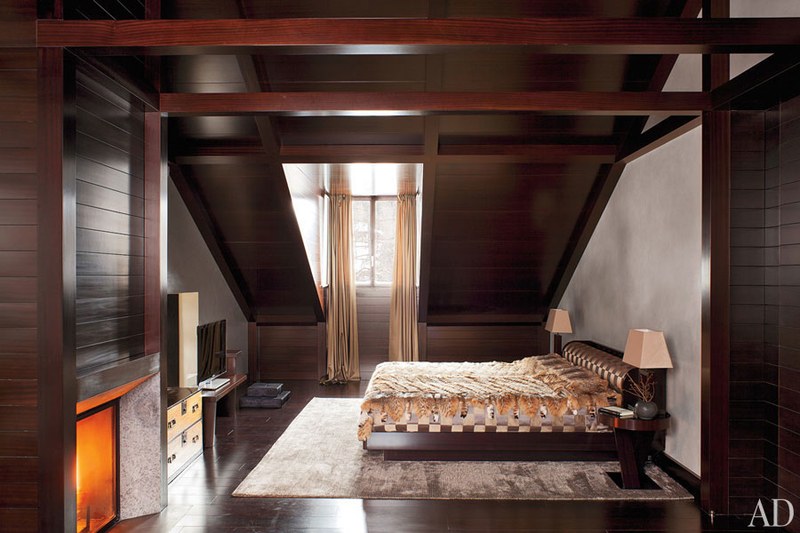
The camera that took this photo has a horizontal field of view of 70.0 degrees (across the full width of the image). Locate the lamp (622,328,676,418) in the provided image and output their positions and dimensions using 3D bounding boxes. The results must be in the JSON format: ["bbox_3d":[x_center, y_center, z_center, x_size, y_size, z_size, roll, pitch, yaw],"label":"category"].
[{"bbox_3d":[2.271,0.975,5.247,0.405,0.821,0.571,3,9,25],"label":"lamp"}]

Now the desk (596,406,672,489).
[{"bbox_3d":[2.155,1.702,5.110,0.515,0.545,0.517,18,-13,28],"label":"desk"}]
